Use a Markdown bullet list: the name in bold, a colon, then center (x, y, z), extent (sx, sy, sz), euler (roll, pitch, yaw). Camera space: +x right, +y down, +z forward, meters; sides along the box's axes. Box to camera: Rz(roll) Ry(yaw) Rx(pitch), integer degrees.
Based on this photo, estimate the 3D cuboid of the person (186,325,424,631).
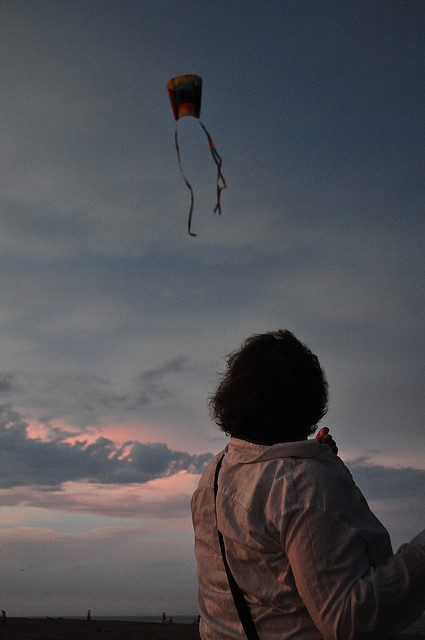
- **person**: center (0.281, 0.504, 3.002), extent (0.423, 1.076, 0.848), euler (14, -23, -28)
